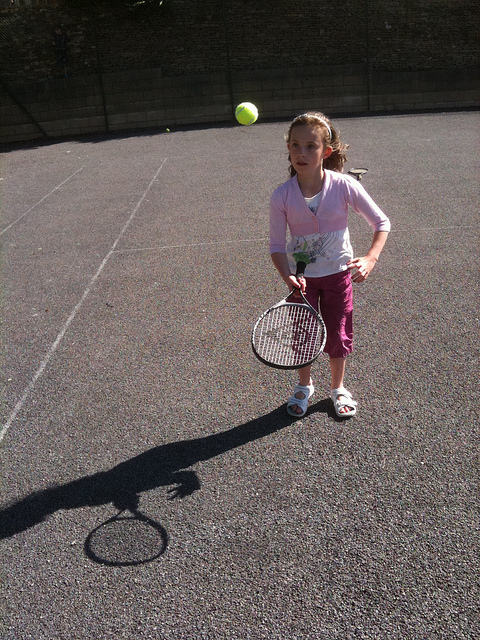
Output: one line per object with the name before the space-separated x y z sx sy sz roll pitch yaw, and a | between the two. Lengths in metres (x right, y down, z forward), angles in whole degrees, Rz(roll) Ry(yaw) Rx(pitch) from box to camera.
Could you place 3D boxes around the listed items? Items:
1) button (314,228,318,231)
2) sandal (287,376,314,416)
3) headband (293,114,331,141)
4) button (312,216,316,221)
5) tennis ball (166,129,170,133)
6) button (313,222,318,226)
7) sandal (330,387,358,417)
button | 0.379 -0.451 2.840 0.016 0.014 0.005 0 25 10
sandal | 0.358 0.443 3.350 0.129 0.114 0.334 12 21 13
headband | 0.355 -0.922 2.756 0.164 0.135 0.144 -1 25 8
button | 0.365 -0.500 2.802 0.015 0.021 0.007 -3 25 5
tennis ball | -1.954 -5.248 15.832 0.127 0.122 0.049 1 -17 4
button | 0.374 -0.475 2.824 0.021 0.018 0.011 -2 25 5
sandal | 0.596 0.458 3.257 0.149 0.121 0.174 -1 25 9
